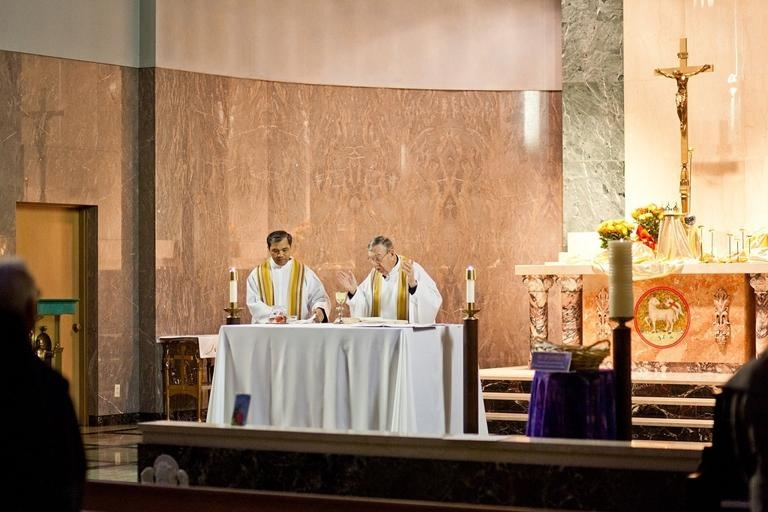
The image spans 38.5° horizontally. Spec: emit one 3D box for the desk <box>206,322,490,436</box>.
[{"bbox_3d":[-0.393,1.071,9.399,2.114,0.726,0.657,-2,-1,0],"label":"desk"}]

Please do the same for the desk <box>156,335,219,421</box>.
[{"bbox_3d":[-2.041,1.333,11.730,0.772,0.818,0.753,9,-12,-35],"label":"desk"}]

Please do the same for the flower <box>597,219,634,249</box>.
[{"bbox_3d":[2.472,-0.249,11.775,0.396,0.355,0.407,0,-3,4],"label":"flower"}]

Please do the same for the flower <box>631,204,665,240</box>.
[{"bbox_3d":[2.880,-0.355,11.956,0.362,0.377,0.354,0,0,-13],"label":"flower"}]

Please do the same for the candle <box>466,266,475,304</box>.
[{"bbox_3d":[0.694,0.236,8.763,0.057,0.248,0.136,-2,-1,0],"label":"candle"}]

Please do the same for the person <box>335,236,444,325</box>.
[{"bbox_3d":[0.101,0.254,11.161,0.667,0.694,1.011,-1,-2,-31],"label":"person"}]

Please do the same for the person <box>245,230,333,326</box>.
[{"bbox_3d":[-1.048,0.383,12.020,0.832,1.249,0.723,-5,-10,9],"label":"person"}]
